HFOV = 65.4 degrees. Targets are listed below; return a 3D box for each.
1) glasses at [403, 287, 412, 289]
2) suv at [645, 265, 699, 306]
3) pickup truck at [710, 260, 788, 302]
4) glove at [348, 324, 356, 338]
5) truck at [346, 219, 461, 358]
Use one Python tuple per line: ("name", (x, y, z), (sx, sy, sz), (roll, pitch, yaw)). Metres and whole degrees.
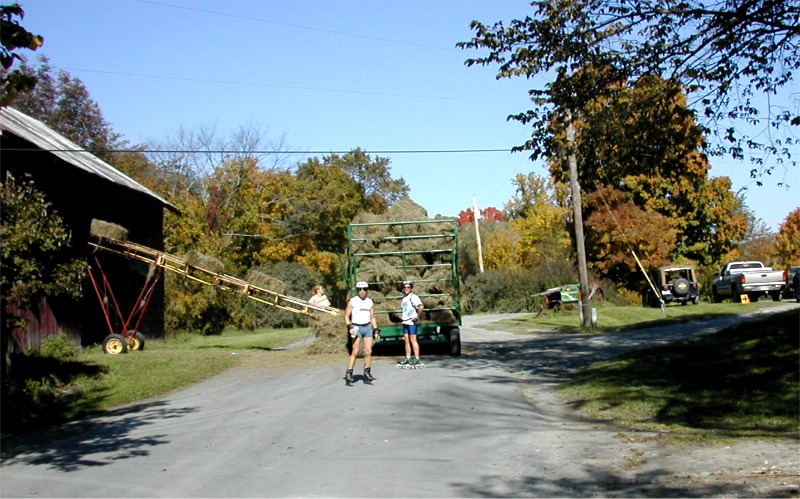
("glasses", (0.255, 1.178, 19.411), (0.196, 0.082, 0.099), (1, -13, -22))
("suv", (18.202, 2.523, 41.119), (2.668, 2.752, 4.862), (-1, 0, 6))
("pickup truck", (21.676, 1.999, 39.298), (2.462, 1.944, 4.915), (-1, -1, 2))
("glove", (-1.313, 2.355, 17.938), (0.260, 0.350, 0.345), (4, -8, -14))
("truck", (0.273, 1.854, 24.934), (3.690, 3.474, 5.187), (-1, -20, -1))
